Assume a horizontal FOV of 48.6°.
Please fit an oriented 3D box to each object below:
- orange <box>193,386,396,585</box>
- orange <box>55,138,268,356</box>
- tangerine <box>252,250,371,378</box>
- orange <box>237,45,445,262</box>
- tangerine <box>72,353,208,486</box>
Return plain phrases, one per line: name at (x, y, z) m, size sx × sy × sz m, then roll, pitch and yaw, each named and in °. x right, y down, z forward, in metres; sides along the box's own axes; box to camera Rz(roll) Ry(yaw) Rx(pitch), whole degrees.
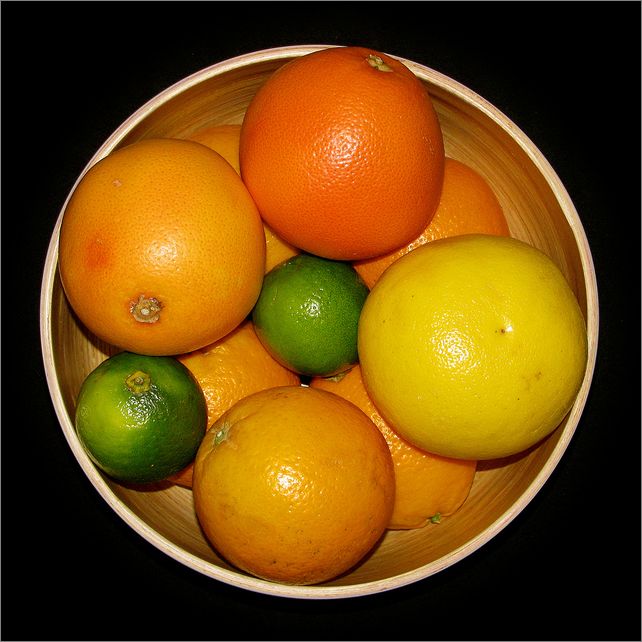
orange at (-0.053, 0.214, 0.984) m, size 0.245 × 0.223 × 0.267 m, roll 17°, pitch 75°, yaw -26°
orange at (-0.207, -0.100, 0.918) m, size 0.266 × 0.138 × 0.250 m, roll -13°, pitch 72°, yaw -5°
tangerine at (-0.029, -0.049, 1.059) m, size 0.142 × 0.204 × 0.161 m, roll 18°, pitch 26°, yaw 16°
orange at (0.025, -0.183, 0.976) m, size 0.224 × 0.250 × 0.276 m, roll 17°, pitch 65°, yaw -15°
tangerine at (-0.239, 0.127, 0.946) m, size 0.162 × 0.105 × 0.164 m, roll 3°, pitch 71°, yaw 1°
